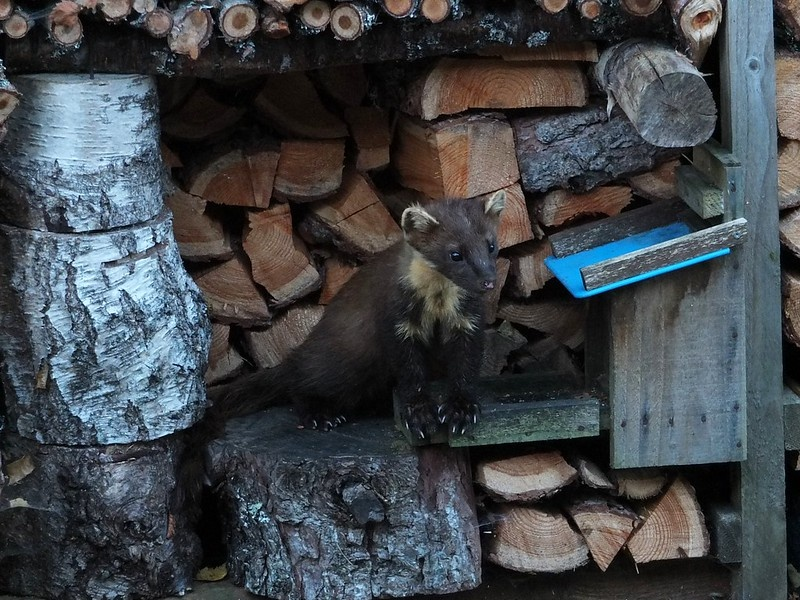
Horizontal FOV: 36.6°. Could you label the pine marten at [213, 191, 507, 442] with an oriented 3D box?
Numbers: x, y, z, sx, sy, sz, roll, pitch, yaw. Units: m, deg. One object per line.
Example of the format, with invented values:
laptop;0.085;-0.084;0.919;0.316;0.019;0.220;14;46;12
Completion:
pine marten;-0.093;0.119;6.688;1.712;1.267;0.545;-6;-1;38
